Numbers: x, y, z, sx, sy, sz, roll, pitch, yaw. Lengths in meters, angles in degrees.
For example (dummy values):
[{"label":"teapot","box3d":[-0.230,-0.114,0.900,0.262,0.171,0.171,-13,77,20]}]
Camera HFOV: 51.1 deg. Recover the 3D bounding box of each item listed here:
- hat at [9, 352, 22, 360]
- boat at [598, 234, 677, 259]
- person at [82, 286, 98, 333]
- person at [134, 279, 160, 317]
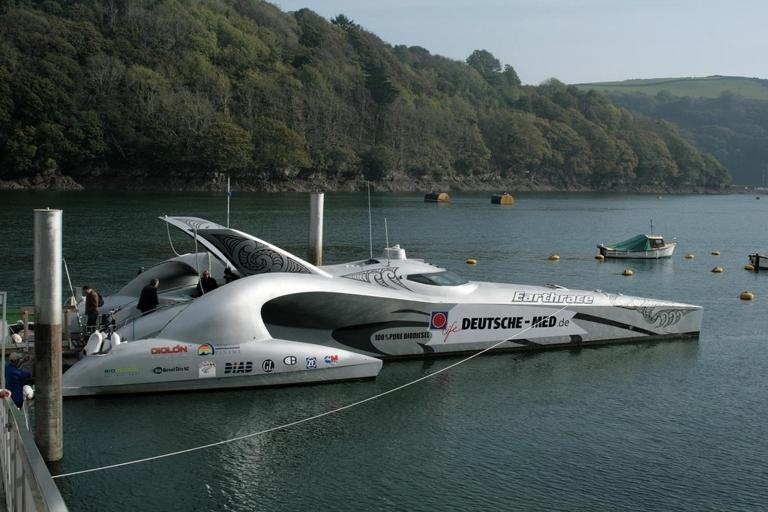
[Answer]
[{"label":"hat","box3d":[-9.884,2.704,21.472,0.259,0.132,0.299,12,16,3]},{"label":"boat","box3d":[14.542,-0.461,46.336,4.313,1.024,1.761,0,5,-4]},{"label":"person","box3d":[-8.629,1.567,23.695,0.418,1.236,1.094,-5,6,-18]},{"label":"person","box3d":[-6.950,1.170,23.532,0.546,0.968,0.359,-5,6,-21]}]
